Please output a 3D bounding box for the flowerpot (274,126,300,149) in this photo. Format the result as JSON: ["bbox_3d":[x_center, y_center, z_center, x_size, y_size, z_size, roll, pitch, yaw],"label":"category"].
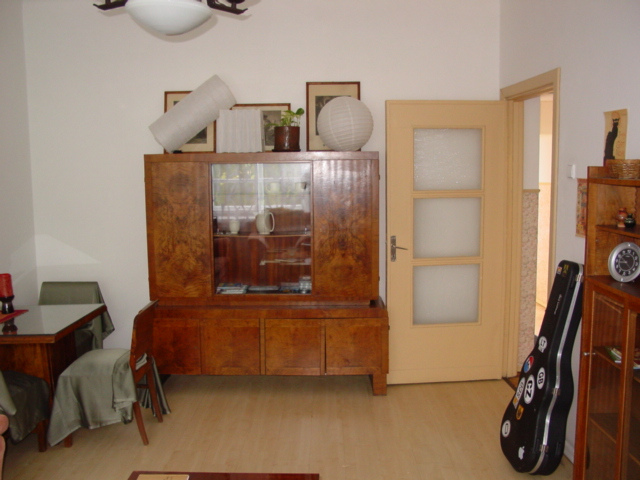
[{"bbox_3d":[-0.286,-0.884,4.205,0.187,0.150,0.193,6,13,23],"label":"flowerpot"}]

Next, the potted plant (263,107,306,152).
[{"bbox_3d":[-0.305,-0.956,4.265,0.345,0.378,0.301,2,7,19],"label":"potted plant"}]

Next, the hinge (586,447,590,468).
[{"bbox_3d":[1.684,1.367,3.022,0.005,0.120,0.026,-5,8,-31],"label":"hinge"}]

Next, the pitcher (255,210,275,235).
[{"bbox_3d":[-0.481,-0.149,4.264,0.210,0.230,0.140,5,12,25],"label":"pitcher"}]

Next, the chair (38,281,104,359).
[{"bbox_3d":[-2.233,0.846,4.337,0.603,0.982,0.530,2,-8,-32],"label":"chair"}]

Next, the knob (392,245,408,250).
[{"bbox_3d":[0.732,0.068,4.399,0.130,0.043,0.032,0,7,9],"label":"knob"}]
